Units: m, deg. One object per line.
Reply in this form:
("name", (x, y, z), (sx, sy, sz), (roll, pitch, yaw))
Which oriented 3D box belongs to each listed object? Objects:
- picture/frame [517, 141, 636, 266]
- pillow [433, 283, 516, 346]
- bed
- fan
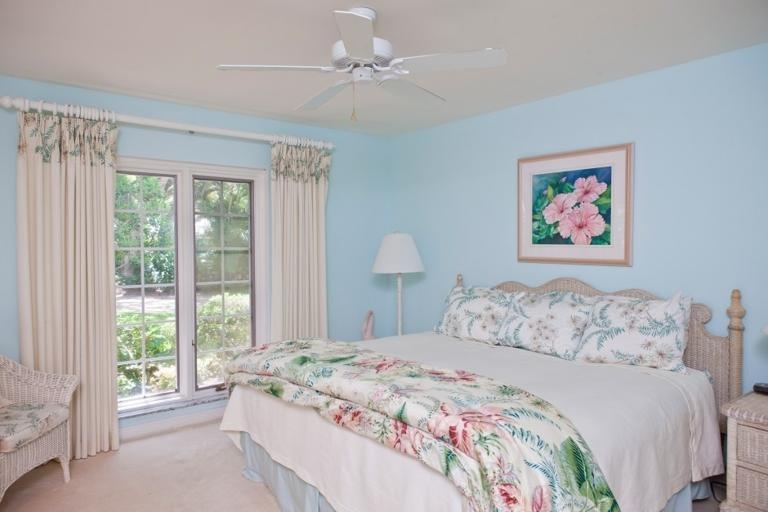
("picture/frame", (1.712, -0.464, 4.787), (1.171, 1.051, 0.084), (-4, -5, 42))
("pillow", (0.824, 0.500, 4.843), (0.169, 0.484, 0.567), (32, -15, -35))
("bed", (0.870, 0.975, 3.913), (3.602, 1.545, 1.708), (1, 8, -10))
("fan", (-0.060, -1.204, 3.445), (0.883, 0.219, 0.982), (-8, -10, 44))
